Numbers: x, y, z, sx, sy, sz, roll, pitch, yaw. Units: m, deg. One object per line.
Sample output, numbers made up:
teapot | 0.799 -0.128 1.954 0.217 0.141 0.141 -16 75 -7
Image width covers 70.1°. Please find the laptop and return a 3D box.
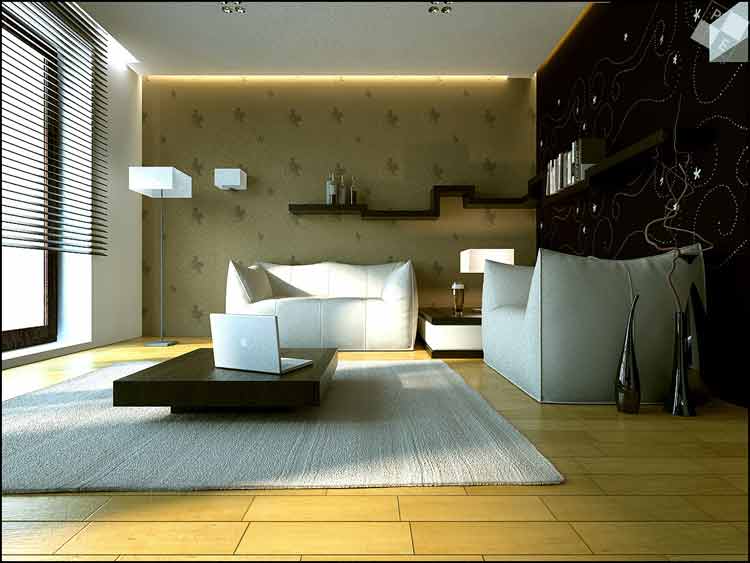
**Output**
laptop | -0.640 0.244 2.825 0.441 0.301 0.317 -1 1 26

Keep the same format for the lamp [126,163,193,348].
lamp | -2.221 -0.262 5.455 0.467 1.792 0.581 -3 8 -25

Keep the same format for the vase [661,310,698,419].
vase | 1.672 0.439 2.875 0.138 0.518 0.268 6 15 23

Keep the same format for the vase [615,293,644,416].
vase | 1.369 0.397 2.876 0.114 0.600 0.182 2 14 6

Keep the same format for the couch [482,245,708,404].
couch | 1.291 0.281 3.364 0.871 0.786 1.231 1 -5 3

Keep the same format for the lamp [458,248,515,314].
lamp | 0.950 -0.010 4.546 0.659 0.387 0.666 2 -1 5

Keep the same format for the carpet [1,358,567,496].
carpet | -0.559 0.722 2.779 2.639 0.198 1.402 0 13 -1

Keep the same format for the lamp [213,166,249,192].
lamp | -1.504 -1.053 5.696 0.268 0.164 0.270 -1 -1 8

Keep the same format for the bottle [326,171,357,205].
bottle | -0.363 -1.007 5.781 0.339 0.343 0.340 0 13 -4
